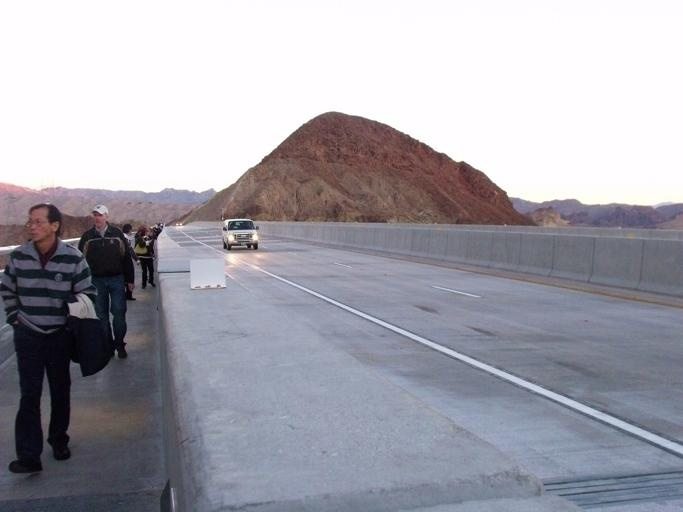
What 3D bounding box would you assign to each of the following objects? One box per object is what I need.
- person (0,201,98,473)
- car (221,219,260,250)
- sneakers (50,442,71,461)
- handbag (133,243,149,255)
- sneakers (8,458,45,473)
[{"bbox_3d":[-3.095,0.868,5.290,0.635,2.839,0.691,7,4,36],"label":"person"},{"bbox_3d":[-7.042,-1.611,34.973,1.796,1.374,2.954,-1,1,-17],"label":"car"},{"bbox_3d":[-3.133,2.189,5.629,0.129,0.158,0.255,5,-13,-34],"label":"sneakers"},{"bbox_3d":[-7.101,-0.271,17.918,0.427,0.292,0.216,16,31,-14],"label":"handbag"},{"bbox_3d":[-3.211,2.107,5.144,0.292,0.116,0.159,12,9,-7],"label":"sneakers"}]
